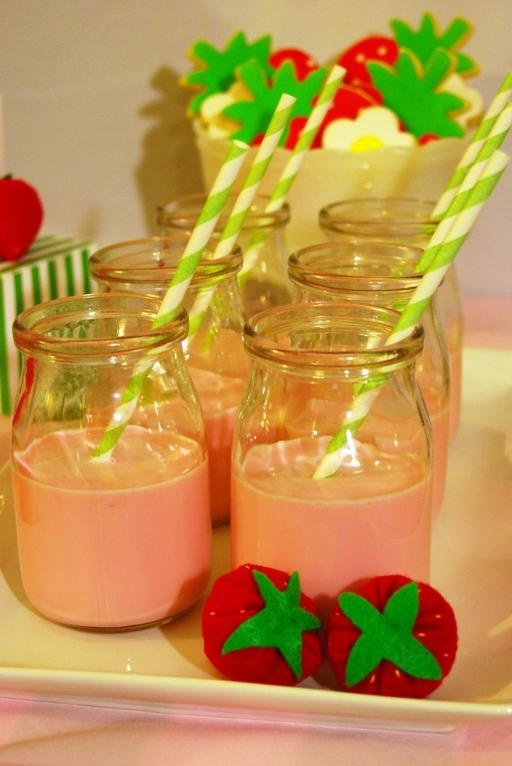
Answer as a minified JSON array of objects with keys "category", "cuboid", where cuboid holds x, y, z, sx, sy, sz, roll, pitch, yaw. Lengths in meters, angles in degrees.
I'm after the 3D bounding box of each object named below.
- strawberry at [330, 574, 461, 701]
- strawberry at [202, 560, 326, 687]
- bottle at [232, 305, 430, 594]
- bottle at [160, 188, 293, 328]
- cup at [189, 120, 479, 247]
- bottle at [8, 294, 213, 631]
[{"category":"strawberry","cuboid":[0.084,0.153,0.437,0.080,0.057,0.054,-10,22,-19]},{"category":"strawberry","cuboid":[0.010,0.150,0.436,0.079,0.022,0.069,2,61,-19]},{"category":"bottle","cuboid":[0.049,0.064,0.534,0.159,0.219,0.150,2,20,-1]},{"category":"bottle","cuboid":[-0.015,-0.147,0.865,0.174,0.146,0.158,-3,21,0]},{"category":"cup","cuboid":[0.091,-0.216,0.771,0.219,0.088,0.202,-1,18,0]},{"category":"bottle","cuboid":[-0.109,0.064,0.552,0.158,0.219,0.144,1,18,0]}]
